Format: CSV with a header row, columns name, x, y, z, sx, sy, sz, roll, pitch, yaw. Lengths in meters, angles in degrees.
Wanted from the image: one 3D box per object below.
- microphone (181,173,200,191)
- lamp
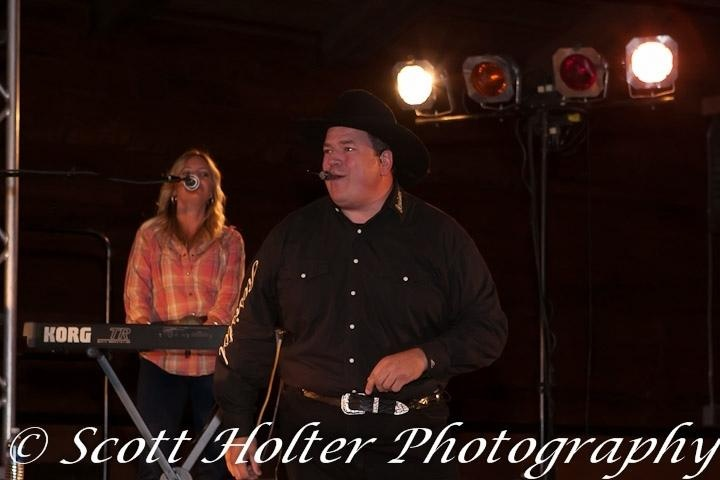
name,x,y,z,sx,sy,sz,roll,pitch,yaw
microphone,-1.138,-0.391,5.317,0.124,0.116,0.044,2,9,-4
lamp,1.290,-1.123,5.625,1.960,0.448,0.341,0,13,26
